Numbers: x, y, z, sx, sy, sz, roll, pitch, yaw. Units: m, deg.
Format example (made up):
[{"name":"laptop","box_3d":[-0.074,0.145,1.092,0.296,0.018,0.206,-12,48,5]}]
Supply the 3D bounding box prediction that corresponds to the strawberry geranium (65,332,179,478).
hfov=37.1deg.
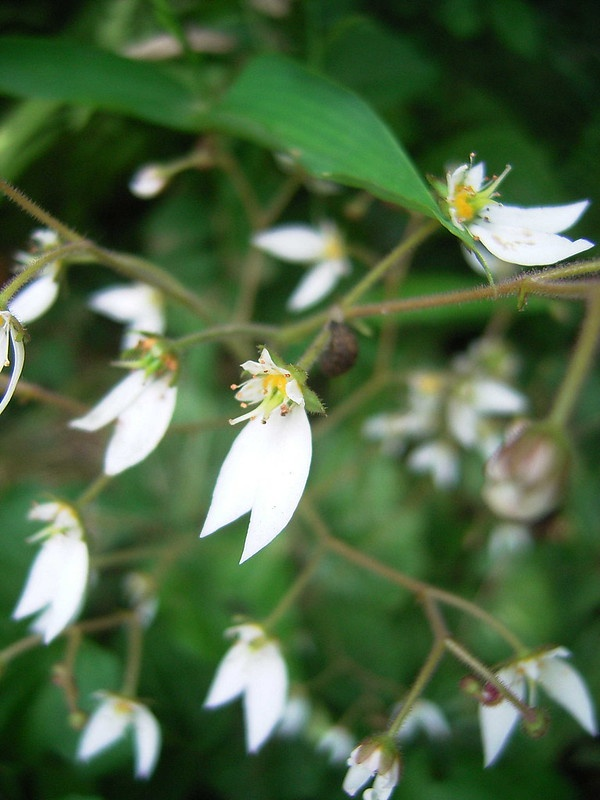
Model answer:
[{"name":"strawberry geranium","box_3d":[-0.173,0.006,0.952,0.095,0.063,0.161,36,72,17]}]

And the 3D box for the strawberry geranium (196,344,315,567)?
[{"name":"strawberry geranium","box_3d":[-0.036,0.054,0.964,0.114,0.095,0.244,-4,52,23]}]

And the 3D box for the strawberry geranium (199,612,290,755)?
[{"name":"strawberry geranium","box_3d":[-0.050,0.291,0.916,0.097,0.031,0.116,14,61,-5]}]

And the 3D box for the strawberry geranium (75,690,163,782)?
[{"name":"strawberry geranium","box_3d":[-0.194,0.360,0.960,0.093,0.036,0.078,13,67,9]}]
